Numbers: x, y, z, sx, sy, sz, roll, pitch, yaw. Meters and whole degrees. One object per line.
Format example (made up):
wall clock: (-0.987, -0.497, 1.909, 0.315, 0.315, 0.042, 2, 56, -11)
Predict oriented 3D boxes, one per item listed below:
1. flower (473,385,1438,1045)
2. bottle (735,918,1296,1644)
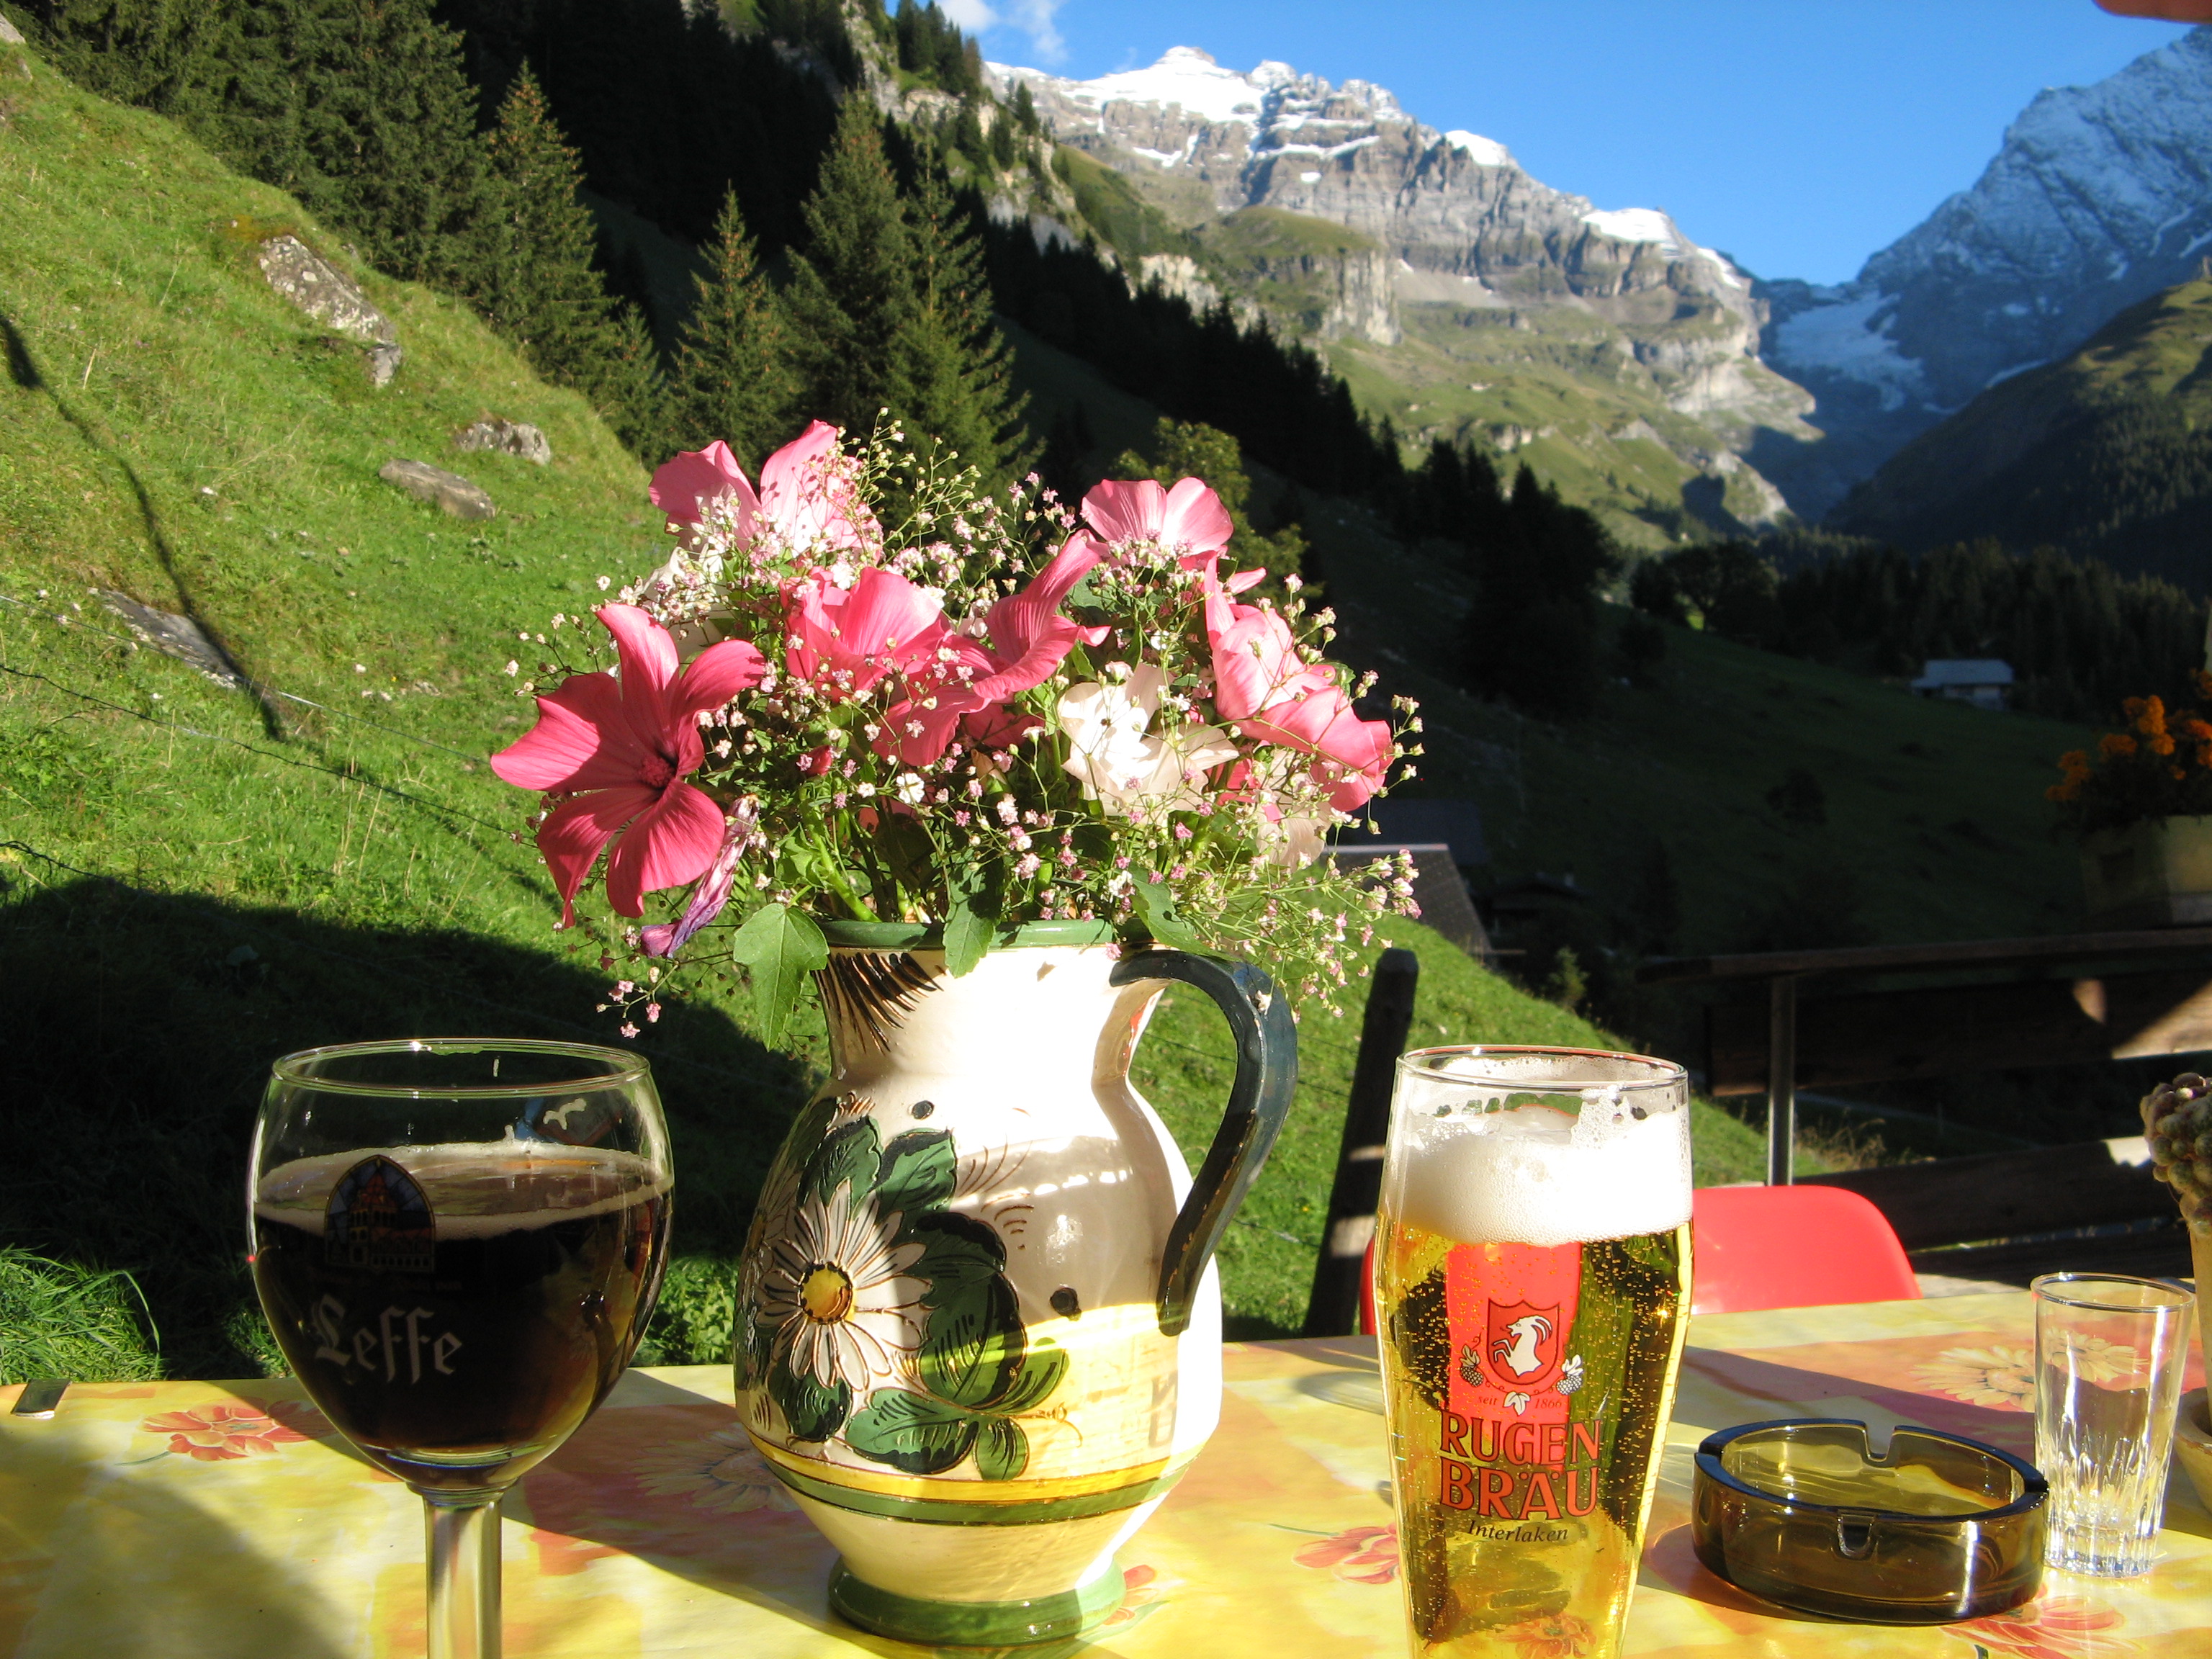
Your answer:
flower: (-0.187, -0.054, 1.694, 0.544, 0.422, 0.593, -9, -3, -32)
bottle: (-0.076, 0.329, 1.505, 0.371, 0.457, 0.191, 5, -2, -12)
